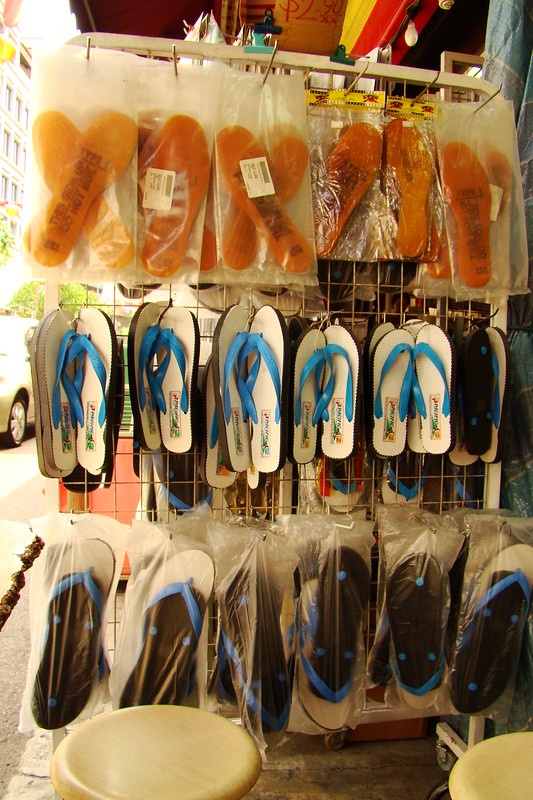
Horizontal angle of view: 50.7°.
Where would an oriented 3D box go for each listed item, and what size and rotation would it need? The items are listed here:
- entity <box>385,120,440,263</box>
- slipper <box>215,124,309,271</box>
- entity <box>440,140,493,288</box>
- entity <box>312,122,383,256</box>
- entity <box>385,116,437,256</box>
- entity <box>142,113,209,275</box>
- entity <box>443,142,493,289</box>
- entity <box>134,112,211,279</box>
[{"bbox_3d":[0.376,-0.493,1.424,0.146,0.061,0.499,24,-14,19],"label":"entity"},{"bbox_3d":[0.003,-0.379,1.221,0.113,0.409,0.029,-19,10,-12],"label":"slipper"},{"bbox_3d":[0.481,-0.418,1.360,0.098,0.359,0.076,-12,16,0],"label":"entity"},{"bbox_3d":[0.184,-0.491,1.348,0.116,0.363,0.091,16,15,5],"label":"entity"},{"bbox_3d":[0.344,-0.501,1.335,0.119,0.336,0.073,-1,5,-3],"label":"entity"},{"bbox_3d":[-0.207,-0.437,1.267,0.115,0.371,0.085,11,-3,-13],"label":"entity"},{"bbox_3d":[0.475,-0.439,1.333,0.116,0.347,0.057,-2,5,-11],"label":"entity"},{"bbox_3d":[-0.201,-0.443,1.207,0.136,0.354,0.063,7,12,2],"label":"entity"}]
